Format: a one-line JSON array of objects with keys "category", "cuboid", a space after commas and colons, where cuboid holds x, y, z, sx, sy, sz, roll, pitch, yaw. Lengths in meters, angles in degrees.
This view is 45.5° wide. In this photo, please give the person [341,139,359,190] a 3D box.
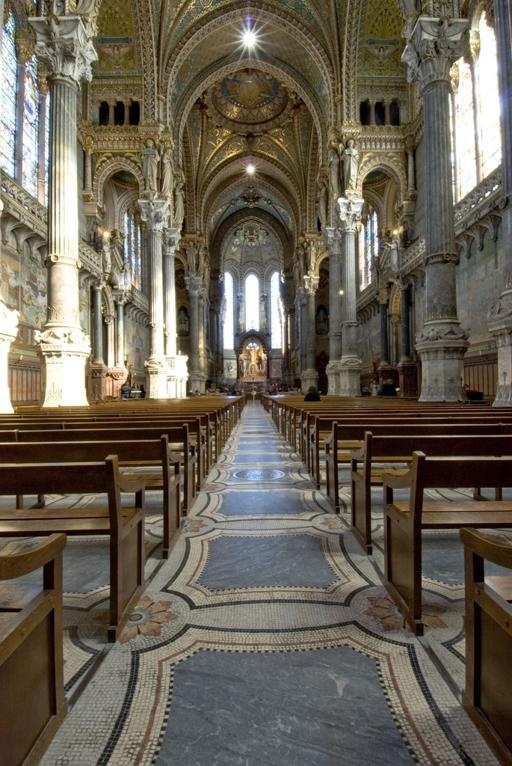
[{"category": "person", "cuboid": [2.837, -6.401, 18.083, 0.577, 1.613, 0.542, -1, 1, -14]}]

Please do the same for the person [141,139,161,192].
[{"category": "person", "cuboid": [-3.170, -6.572, 18.575, 0.538, 1.594, 0.557, -1, 1, -15]}]
